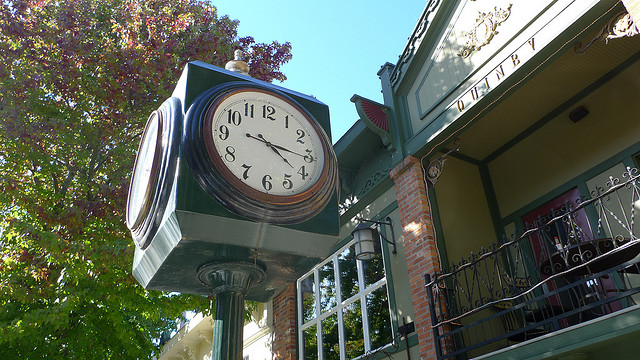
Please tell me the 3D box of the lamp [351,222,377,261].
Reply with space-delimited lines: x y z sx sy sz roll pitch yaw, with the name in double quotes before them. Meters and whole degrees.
"lamp" 1.039 1.352 12.869 0.596 0.858 0.554 0 -16 -16
